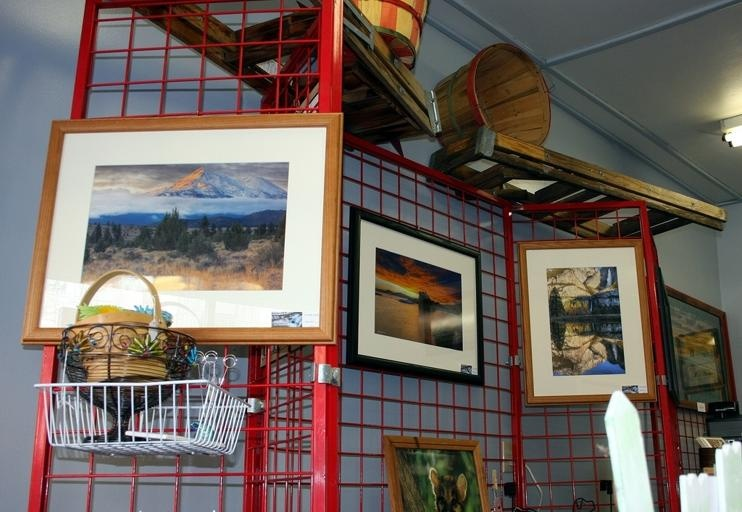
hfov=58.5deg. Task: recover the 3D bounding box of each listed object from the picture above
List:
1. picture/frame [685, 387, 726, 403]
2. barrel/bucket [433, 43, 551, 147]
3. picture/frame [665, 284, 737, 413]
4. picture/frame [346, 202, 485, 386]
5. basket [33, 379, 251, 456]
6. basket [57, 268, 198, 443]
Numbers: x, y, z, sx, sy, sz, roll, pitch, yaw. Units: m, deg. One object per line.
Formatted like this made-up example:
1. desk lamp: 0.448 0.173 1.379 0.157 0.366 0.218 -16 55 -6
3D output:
1. picture/frame: 2.916 1.206 5.770 0.811 0.149 0.055 15 -23 -43
2. barrel/bucket: 0.770 -0.975 3.985 0.531 0.651 0.690 1 2 40
3. picture/frame: 2.790 0.822 5.640 0.038 0.757 1.062 -14 -19 42
4. picture/frame: 0.210 0.233 3.453 0.963 0.759 0.047 14 -22 -37
5. basket: -0.843 0.576 2.346 0.570 0.191 0.435 -1 -22 8
6. basket: -0.825 0.330 2.260 0.435 0.595 0.247 3 -18 -14
